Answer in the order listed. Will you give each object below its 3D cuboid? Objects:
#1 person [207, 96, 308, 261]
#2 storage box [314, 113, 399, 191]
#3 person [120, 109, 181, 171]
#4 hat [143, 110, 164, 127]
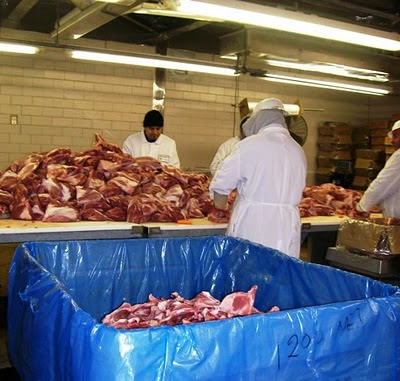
[{"bbox_3d":[0.441,-0.075,2.758,0.728,1.167,0.399,1,6,0],"label":"person"},{"bbox_3d":[3.421,-0.814,8.524,1.817,1.793,1.022,3,-26,14],"label":"storage box"},{"bbox_3d":[-0.588,-0.628,4.750,0.697,0.669,0.333,0,6,-12],"label":"person"},{"bbox_3d":[-0.563,-0.851,4.686,0.205,0.191,0.212,-1,8,-24],"label":"hat"}]
